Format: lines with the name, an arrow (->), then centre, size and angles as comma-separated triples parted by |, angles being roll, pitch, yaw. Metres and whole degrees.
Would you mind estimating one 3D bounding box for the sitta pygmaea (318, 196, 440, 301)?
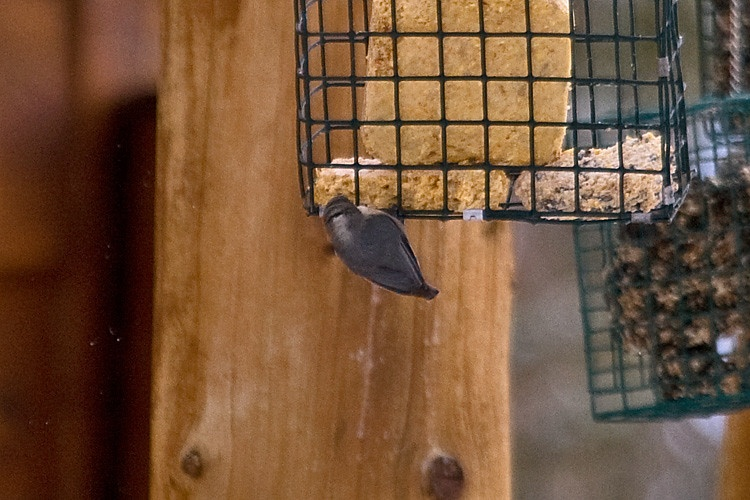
sitta pygmaea -> 0.003, -0.014, 2.502 | 0.110, 0.088, 0.221 | -43, 97, 4
